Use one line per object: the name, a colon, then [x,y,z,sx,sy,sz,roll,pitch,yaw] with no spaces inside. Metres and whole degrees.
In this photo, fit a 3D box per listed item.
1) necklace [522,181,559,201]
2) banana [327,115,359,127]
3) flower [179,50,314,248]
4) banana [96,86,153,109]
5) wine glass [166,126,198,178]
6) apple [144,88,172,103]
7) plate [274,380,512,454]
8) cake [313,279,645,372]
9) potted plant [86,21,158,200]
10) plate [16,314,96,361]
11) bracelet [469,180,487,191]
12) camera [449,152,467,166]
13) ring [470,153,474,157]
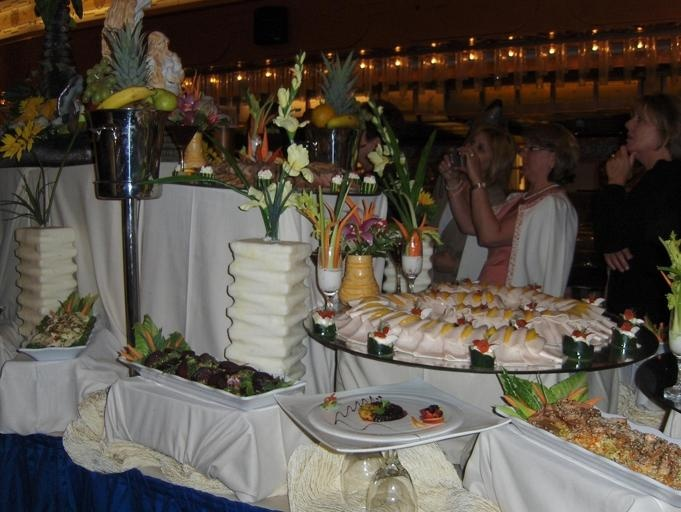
necklace: [1.019,-0.316,3.165,0.121,0.049,0.095,-10,0,8]
banana: [0.018,-0.583,2.737,0.120,0.052,0.057,-4,7,-4]
flower: [-0.313,-0.386,2.405,0.626,0.663,0.719,-6,14,-33]
banana: [-0.793,-0.581,2.314,0.208,0.066,0.055,-28,38,-21]
wine glass: [-0.648,-0.454,2.651,0.160,0.196,0.160,-1,17,-7]
apple: [-0.690,-0.615,2.388,0.131,0.065,0.056,-8,23,-28]
plate: [0.128,0.432,1.737,0.583,0.086,0.358,1,6,-14]
cake: [0.467,0.227,2.090,1.071,0.161,0.709,3,6,4]
potted plant: [-0.810,-0.552,2.349,0.246,0.687,0.545,0,6,-22]
plate: [-1.058,0.312,2.343,0.255,0.129,0.133,-1,7,-26]
bracelet: [0.696,-0.354,3.165,0.047,0.034,0.047,-4,4,-34]
camera: [0.589,-0.476,3.080,0.080,0.089,0.068,6,14,43]
ring: [0.653,-0.498,3.089,0.019,0.020,0.005,0,-3,2]
